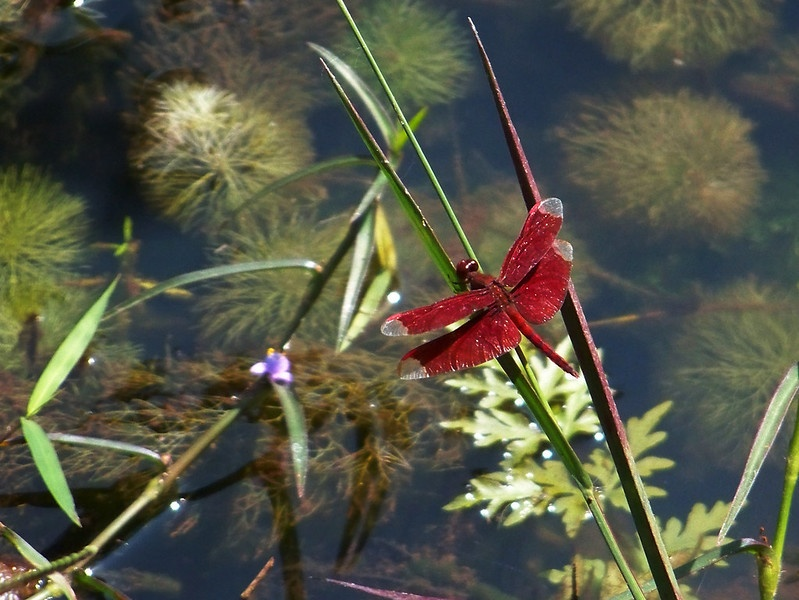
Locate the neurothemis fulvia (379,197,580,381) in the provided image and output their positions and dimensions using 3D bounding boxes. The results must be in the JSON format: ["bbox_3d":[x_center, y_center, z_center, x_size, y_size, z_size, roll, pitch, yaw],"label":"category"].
[{"bbox_3d":[0.317,0.022,2.713,0.670,0.163,0.386,-37,65,-18],"label":"neurothemis fulvia"}]
